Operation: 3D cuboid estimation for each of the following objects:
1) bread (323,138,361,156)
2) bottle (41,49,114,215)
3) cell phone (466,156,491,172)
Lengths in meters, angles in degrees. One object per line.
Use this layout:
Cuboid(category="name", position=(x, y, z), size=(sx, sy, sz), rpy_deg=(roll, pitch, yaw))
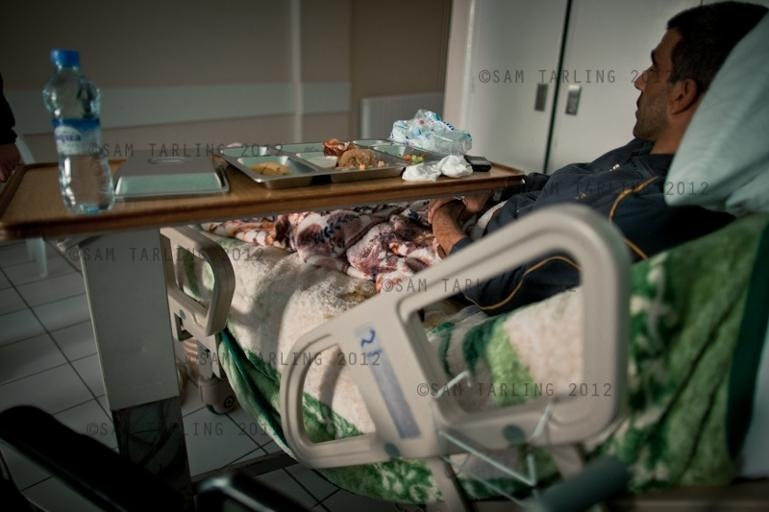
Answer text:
Cuboid(category="bread", position=(-0.177, -0.428, 2.200), size=(0.104, 0.052, 0.128), rpy_deg=(8, 12, 11))
Cuboid(category="bottle", position=(-0.850, -0.352, 1.548), size=(0.161, 0.414, 0.313), rpy_deg=(-14, 23, -26))
Cuboid(category="cell phone", position=(0.354, -0.353, 2.114), size=(0.074, 0.020, 0.073), rpy_deg=(-1, 36, -15))
